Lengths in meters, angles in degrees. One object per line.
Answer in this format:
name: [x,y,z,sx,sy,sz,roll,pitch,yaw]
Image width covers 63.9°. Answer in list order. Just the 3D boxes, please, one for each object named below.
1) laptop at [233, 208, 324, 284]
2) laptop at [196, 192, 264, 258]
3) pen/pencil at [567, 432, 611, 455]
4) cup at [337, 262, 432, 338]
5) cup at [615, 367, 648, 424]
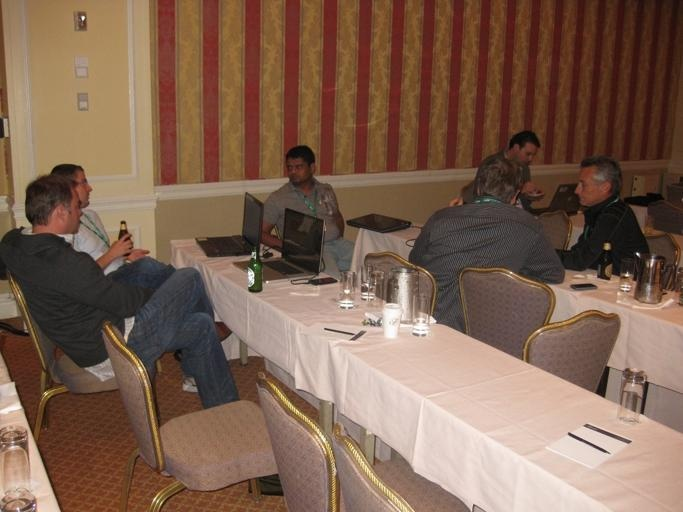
laptop: [-0.379,-0.042,3.613,0.421,0.444,0.624,-4,14,-21]
laptop: [-0.834,-0.134,4.067,0.417,0.504,0.711,2,14,-17]
pen/pencil: [0.844,0.646,1.884,0.140,0.018,0.024,13,19,43]
cup: [0.354,0.209,2.951,0.273,0.391,0.400,-1,2,-25]
cup: [1.090,0.514,2.065,0.081,0.168,0.194,7,15,29]
